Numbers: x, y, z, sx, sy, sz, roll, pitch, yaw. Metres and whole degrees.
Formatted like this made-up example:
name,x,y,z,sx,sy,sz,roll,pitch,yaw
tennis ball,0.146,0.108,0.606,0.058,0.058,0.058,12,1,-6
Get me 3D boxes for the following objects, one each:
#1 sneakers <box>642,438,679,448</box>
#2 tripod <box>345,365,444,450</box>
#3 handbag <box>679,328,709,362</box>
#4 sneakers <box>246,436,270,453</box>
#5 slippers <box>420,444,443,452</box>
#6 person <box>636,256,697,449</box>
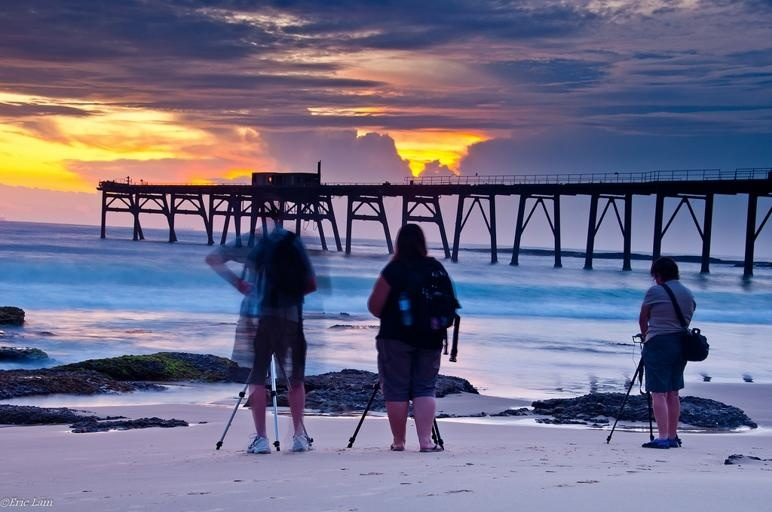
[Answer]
name,x,y,z,sx,sy,sz,roll,pitch,yaw
sneakers,4.064,2.775,18.558,0.515,0.146,0.175,1,2,16
tripod,0.106,2.317,18.597,1.348,1.412,1.213,9,-2,3
handbag,4.586,1.310,18.538,0.336,0.461,0.380,2,2,21
sneakers,-1.785,2.659,17.678,0.349,0.252,0.240,1,2,-2
slippers,0.661,2.731,17.824,0.323,0.067,0.111,-1,4,-15
person,4.163,1.428,18.631,0.774,2.831,0.563,2,2,10
